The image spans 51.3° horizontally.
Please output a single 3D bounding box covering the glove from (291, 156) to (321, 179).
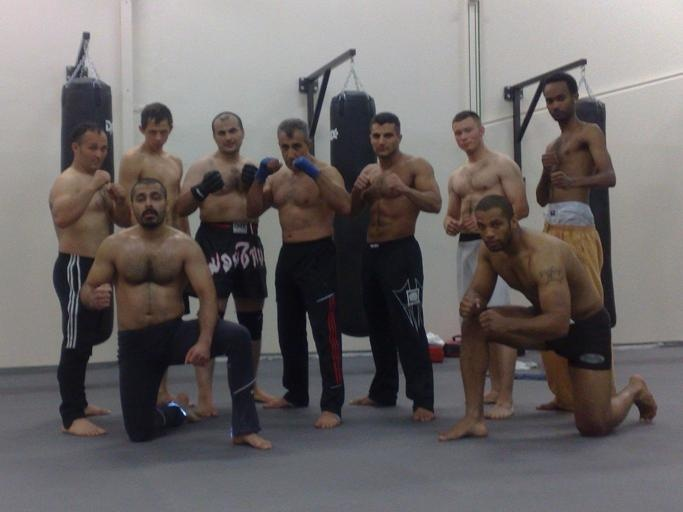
[{"bbox_3d":[-0.238,-0.595,4.807,0.177,0.158,0.104,-3,6,1],"label":"glove"}]

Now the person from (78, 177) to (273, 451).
[{"bbox_3d":[-1.076,0.352,4.473,1.120,1.673,0.388,-1,6,15],"label":"person"}]

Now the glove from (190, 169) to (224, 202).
[{"bbox_3d":[-0.919,-0.483,4.913,0.220,0.158,0.082,-34,0,30],"label":"glove"}]

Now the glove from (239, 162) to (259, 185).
[{"bbox_3d":[-0.653,-0.572,5.018,0.052,0.152,0.105,-4,31,-42],"label":"glove"}]

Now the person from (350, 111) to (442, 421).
[{"bbox_3d":[0.418,0.046,5.078,0.417,2.108,0.703,-8,8,-44],"label":"person"}]

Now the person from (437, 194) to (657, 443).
[{"bbox_3d":[1.410,0.406,4.552,1.347,1.593,0.863,-1,1,-7],"label":"person"}]
